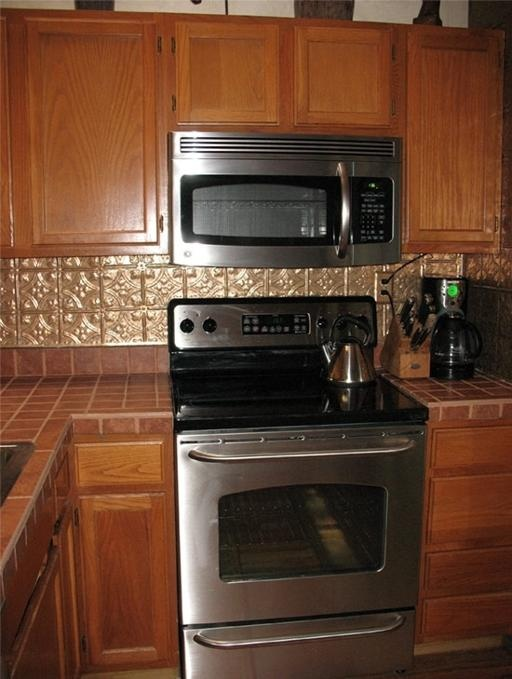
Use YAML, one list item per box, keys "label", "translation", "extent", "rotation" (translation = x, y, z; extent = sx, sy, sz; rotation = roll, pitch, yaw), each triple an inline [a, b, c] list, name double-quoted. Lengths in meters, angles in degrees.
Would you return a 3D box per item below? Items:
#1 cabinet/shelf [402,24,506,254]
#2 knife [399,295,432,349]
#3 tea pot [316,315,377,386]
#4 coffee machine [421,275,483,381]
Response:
- label: "cabinet/shelf"
  translation: [0.639, -0.672, 2.038]
  extent: [0.304, 0.713, 0.333]
  rotation: [-1, 7, -7]
- label: "knife"
  translation: [0.564, -0.062, 2.002]
  extent: [0.047, 0.173, 0.106]
  rotation: [-12, 45, -30]
- label: "tea pot"
  translation: [0.320, 0.015, 1.949]
  extent: [0.243, 0.254, 0.191]
  rotation: [-12, 16, -39]
- label: "coffee machine"
  translation: [0.688, -0.048, 2.032]
  extent: [0.205, 0.343, 0.328]
  rotation: [0, 8, 18]
